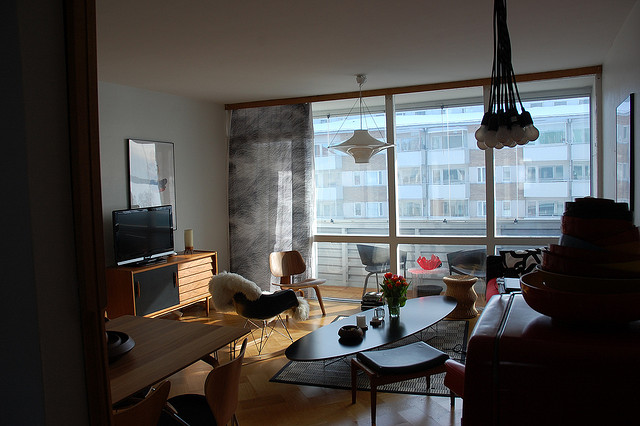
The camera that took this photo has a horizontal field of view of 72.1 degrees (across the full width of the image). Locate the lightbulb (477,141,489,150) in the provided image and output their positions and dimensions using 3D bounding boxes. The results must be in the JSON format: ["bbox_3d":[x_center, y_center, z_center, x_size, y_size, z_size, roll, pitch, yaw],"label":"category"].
[{"bbox_3d":[0.848,-0.346,2.290,0.059,0.041,0.057,0,7,-2],"label":"lightbulb"}]

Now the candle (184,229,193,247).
[{"bbox_3d":[-1.685,0.324,5.642,0.083,0.210,0.153,-4,5,-24],"label":"candle"}]

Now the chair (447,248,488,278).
[{"bbox_3d":[1.857,0.723,5.543,0.523,0.494,0.466,3,7,17],"label":"chair"}]

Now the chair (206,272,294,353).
[{"bbox_3d":[-0.606,0.944,4.300,0.827,0.725,0.646,-2,-4,-43],"label":"chair"}]

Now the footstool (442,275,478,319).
[{"bbox_3d":[1.668,0.940,5.279,0.440,0.507,0.497,5,5,13],"label":"footstool"}]

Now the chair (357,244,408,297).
[{"bbox_3d":[0.801,0.799,5.903,0.483,0.618,0.505,0,9,37],"label":"chair"}]

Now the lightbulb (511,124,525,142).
[{"bbox_3d":[0.888,-0.360,1.978,0.056,0.074,0.023,-2,7,12],"label":"lightbulb"}]

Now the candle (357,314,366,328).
[{"bbox_3d":[0.363,0.951,3.837,0.080,0.084,0.079,1,-4,3],"label":"candle"}]

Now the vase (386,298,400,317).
[{"bbox_3d":[0.679,0.865,4.034,0.164,0.177,0.156,0,-5,-3],"label":"vase"}]

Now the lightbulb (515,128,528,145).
[{"bbox_3d":[0.942,-0.353,2.051,0.081,0.079,0.078,-3,8,14],"label":"lightbulb"}]

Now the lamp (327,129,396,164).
[{"bbox_3d":[0.455,-0.747,4.900,0.575,0.353,0.441,-6,6,-42],"label":"lamp"}]

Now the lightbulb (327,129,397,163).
[{"bbox_3d":[0.471,-0.727,4.853,0.648,0.354,0.561,4,5,20],"label":"lightbulb"}]

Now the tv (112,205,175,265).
[{"bbox_3d":[-2.033,0.256,5.101,0.240,0.632,0.898,0,4,23],"label":"tv"}]

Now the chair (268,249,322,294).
[{"bbox_3d":[-0.347,0.805,5.588,0.597,0.531,0.610,7,6,44],"label":"chair"}]

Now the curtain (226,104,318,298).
[{"bbox_3d":[-0.720,-0.217,6.329,1.368,2.651,0.416,0,5,22],"label":"curtain"}]

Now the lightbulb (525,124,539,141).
[{"bbox_3d":[0.988,-0.368,2.051,0.056,0.082,0.033,-36,-14,22],"label":"lightbulb"}]
